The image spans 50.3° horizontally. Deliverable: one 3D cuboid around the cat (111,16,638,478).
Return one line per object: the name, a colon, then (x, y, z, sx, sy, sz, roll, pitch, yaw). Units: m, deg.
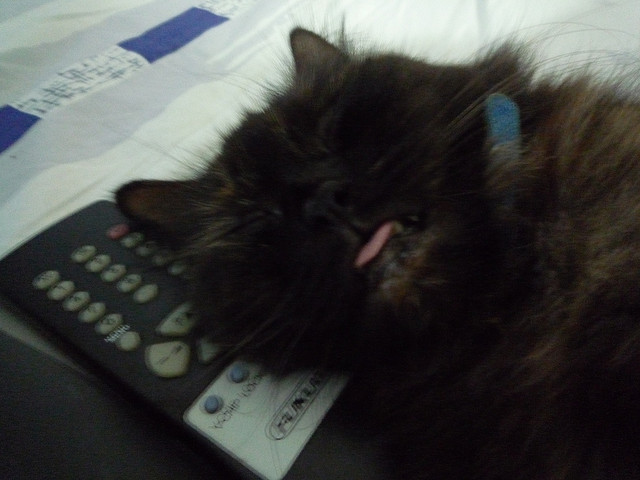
cat: (0.062, 0.019, 0.607, 0.258, 0.186, 0.362, 33, 65, 27)
